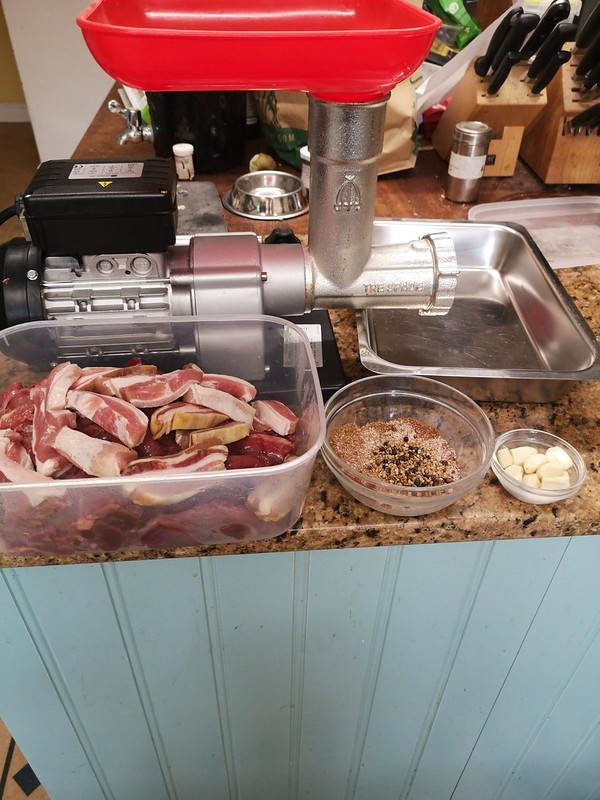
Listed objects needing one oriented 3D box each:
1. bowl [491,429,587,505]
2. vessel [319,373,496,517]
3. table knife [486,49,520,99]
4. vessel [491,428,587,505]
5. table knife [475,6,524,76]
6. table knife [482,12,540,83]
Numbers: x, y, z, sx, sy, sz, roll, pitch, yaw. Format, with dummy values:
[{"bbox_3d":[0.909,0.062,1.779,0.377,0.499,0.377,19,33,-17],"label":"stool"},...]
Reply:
[{"bbox_3d":[0.272,0.080,0.791,0.100,0.046,0.106,-2,32,1],"label":"bowl"},{"bbox_3d":[0.124,0.051,0.787,0.190,0.093,0.192,1,32,6],"label":"vessel"},{"bbox_3d":[0.394,-0.635,1.358,0.025,0.102,0.028,27,57,3],"label":"table knife"},{"bbox_3d":[0.267,0.064,0.751,0.101,0.039,0.092,3,47,2],"label":"vessel"},{"bbox_3d":[0.385,-0.701,1.345,0.034,0.118,0.042,-20,62,-24],"label":"table knife"},{"bbox_3d":[0.413,-0.685,1.323,0.070,0.104,0.108,2,33,7],"label":"table knife"}]
